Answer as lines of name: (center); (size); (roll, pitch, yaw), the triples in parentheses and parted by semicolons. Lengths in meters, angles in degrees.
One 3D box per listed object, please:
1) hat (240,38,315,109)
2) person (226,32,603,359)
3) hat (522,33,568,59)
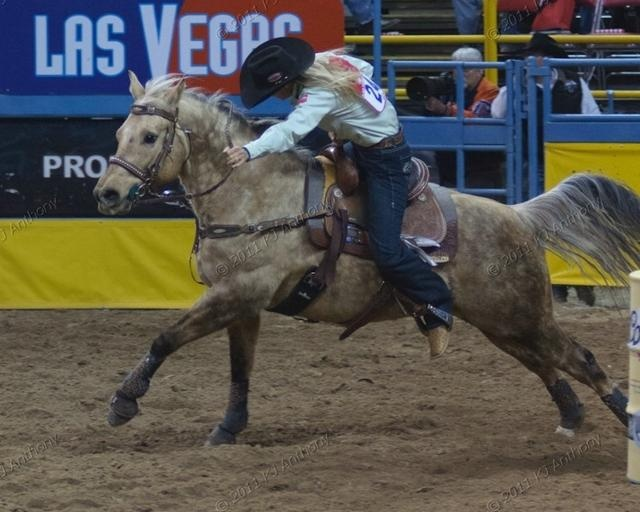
hat: (-0.286, -1.235, 7.874); (0.486, 0.477, 0.239); (2, 5, -3)
person: (0.176, -0.386, 7.917); (1.559, 2.157, 0.520); (2, 5, -7)
hat: (2.295, -2.155, 12.056); (0.424, 0.142, 0.422); (0, 8, -39)
